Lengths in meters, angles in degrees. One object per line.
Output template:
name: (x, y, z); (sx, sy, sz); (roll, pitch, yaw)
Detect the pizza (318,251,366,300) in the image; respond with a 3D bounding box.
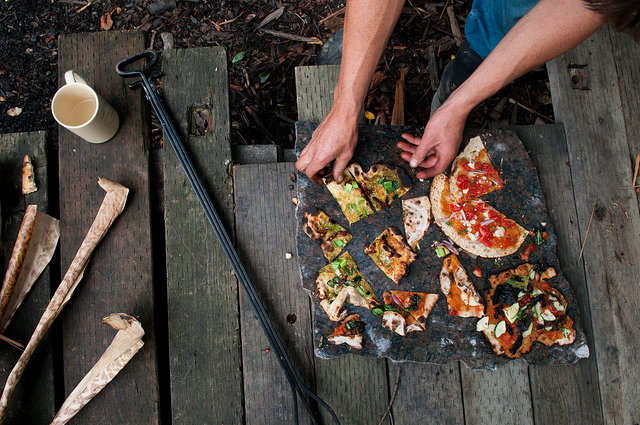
pizza: (0.140, 0.434, 4.470); (0.273, 0.042, 0.313); (-36, 96, -10)

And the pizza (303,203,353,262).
pizza: (0.011, 0.116, 4.523); (0.258, 0.048, 0.427); (-35, 62, -22)

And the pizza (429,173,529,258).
pizza: (1.065, 0.086, 4.550); (0.758, 0.042, 0.354); (32, 80, 2)

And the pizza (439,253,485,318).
pizza: (0.947, 0.551, 4.500); (0.250, 0.032, 0.457); (-32, 84, -8)

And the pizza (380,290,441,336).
pizza: (0.614, 0.689, 4.472); (0.385, 0.026, 0.286); (7, 80, -2)

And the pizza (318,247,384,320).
pizza: (0.173, 0.506, 4.493); (0.469, 0.074, 0.507); (10, 88, -28)

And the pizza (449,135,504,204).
pizza: (1.066, -0.278, 4.486); (0.344, 0.065, 0.408); (-14, 87, -1)

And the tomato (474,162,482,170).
tomato: (1.108, -0.318, 4.580); (0.052, 0.014, 0.051); (-2, 81, -4)

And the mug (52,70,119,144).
mug: (-1.622, -0.690, 4.428); (0.491, 0.256, 0.334); (40, 81, 4)

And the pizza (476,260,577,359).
pizza: (1.398, 0.664, 4.508); (0.679, 0.069, 0.596); (-11, 81, -5)

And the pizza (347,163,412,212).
pizza: (0.444, -0.171, 4.503); (0.387, 0.049, 0.340); (-14, 90, -1)

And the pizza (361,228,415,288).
pizza: (0.477, 0.313, 4.525); (0.402, 0.061, 0.465); (-14, 50, -10)
